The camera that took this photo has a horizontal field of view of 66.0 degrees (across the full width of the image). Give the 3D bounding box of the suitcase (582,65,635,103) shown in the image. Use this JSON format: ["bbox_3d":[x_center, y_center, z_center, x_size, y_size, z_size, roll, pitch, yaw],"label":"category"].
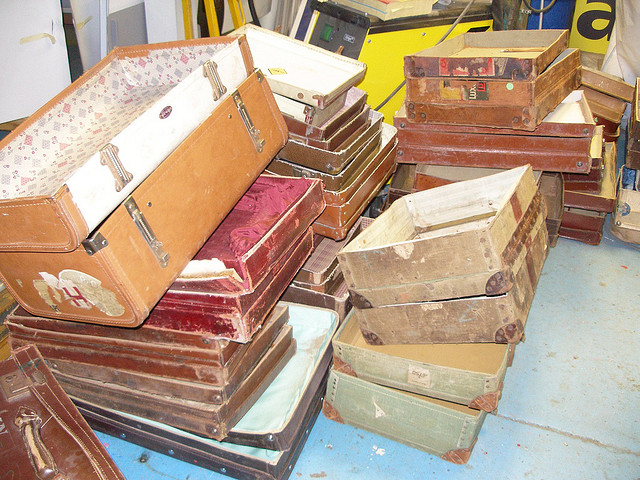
[{"bbox_3d":[2.763,-1.505,4.704,0.399,0.101,0.416,22,12,19],"label":"suitcase"}]

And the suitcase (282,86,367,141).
[{"bbox_3d":[0.013,-0.772,2.880,0.415,0.109,0.434,30,64,38],"label":"suitcase"}]

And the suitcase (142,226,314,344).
[{"bbox_3d":[-0.369,0.228,2.499,0.543,0.159,0.579,7,43,30],"label":"suitcase"}]

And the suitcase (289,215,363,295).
[{"bbox_3d":[0.013,0.121,3.068,0.404,0.113,0.428,9,56,44],"label":"suitcase"}]

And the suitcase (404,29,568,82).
[{"bbox_3d":[1.164,-1.278,3.373,0.804,0.299,1.039,21,33,31],"label":"suitcase"}]

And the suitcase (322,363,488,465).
[{"bbox_3d":[0.460,0.957,2.683,0.581,0.233,0.601,21,12,19],"label":"suitcase"}]

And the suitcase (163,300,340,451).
[{"bbox_3d":[-0.149,0.797,2.832,0.762,0.195,0.774,7,44,21],"label":"suitcase"}]

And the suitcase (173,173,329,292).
[{"bbox_3d":[-0.329,-0.040,2.593,0.630,0.152,0.641,-31,5,13],"label":"suitcase"}]

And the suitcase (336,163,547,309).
[{"bbox_3d":[0.587,0.087,2.798,0.977,0.413,0.991,-11,28,51],"label":"suitcase"}]
